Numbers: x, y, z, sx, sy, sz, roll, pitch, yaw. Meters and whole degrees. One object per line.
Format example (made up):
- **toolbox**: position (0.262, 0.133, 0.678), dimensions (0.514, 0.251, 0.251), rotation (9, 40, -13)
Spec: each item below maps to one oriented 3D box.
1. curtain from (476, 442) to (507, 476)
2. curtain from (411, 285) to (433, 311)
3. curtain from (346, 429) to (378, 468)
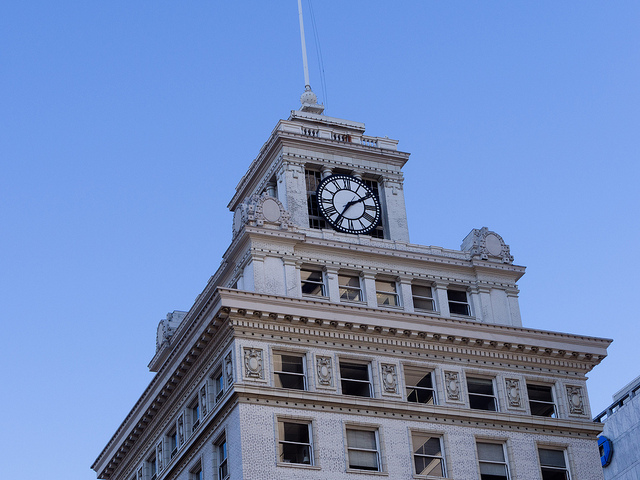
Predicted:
- **curtain**: position (11.155, 14.454, 94.806), dimensions (2.503, 2.987, 0.114), rotation (6, -42, -12)
- **curtain**: position (6.992, 3.603, 100.052), dimensions (1.780, 2.116, 0.399), rotation (6, -44, -14)
- **curtain**: position (2.546, 13.344, 91.966), dimensions (2.530, 3.126, 0.371), rotation (9, -47, -11)
